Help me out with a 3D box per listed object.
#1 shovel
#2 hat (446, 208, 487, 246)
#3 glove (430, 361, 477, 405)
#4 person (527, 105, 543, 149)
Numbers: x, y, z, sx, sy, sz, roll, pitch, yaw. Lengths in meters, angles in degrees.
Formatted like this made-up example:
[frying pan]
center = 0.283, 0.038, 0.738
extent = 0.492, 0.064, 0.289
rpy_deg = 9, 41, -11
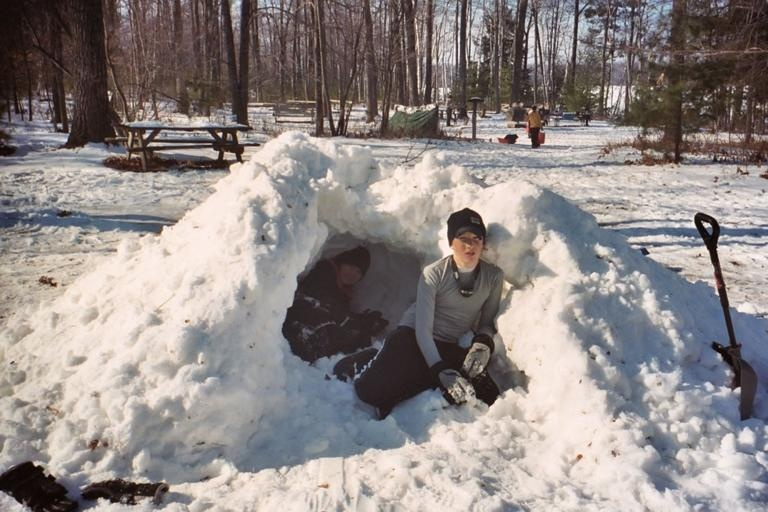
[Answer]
[shovel]
center = 3.678, 0.570, 6.674
extent = 0.547, 1.994, 0.819
rpy_deg = -9, 16, -31
[hat]
center = 0.955, -0.338, 7.019
extent = 0.342, 0.369, 0.539
rpy_deg = 4, -6, 9
[glove]
center = 0.761, 1.400, 6.917
extent = 0.352, 0.458, 0.195
rpy_deg = -28, -13, -7
[person]
center = 5.086, -4.244, 21.117
extent = 0.442, 1.209, 1.749
rpy_deg = 3, 16, 14
